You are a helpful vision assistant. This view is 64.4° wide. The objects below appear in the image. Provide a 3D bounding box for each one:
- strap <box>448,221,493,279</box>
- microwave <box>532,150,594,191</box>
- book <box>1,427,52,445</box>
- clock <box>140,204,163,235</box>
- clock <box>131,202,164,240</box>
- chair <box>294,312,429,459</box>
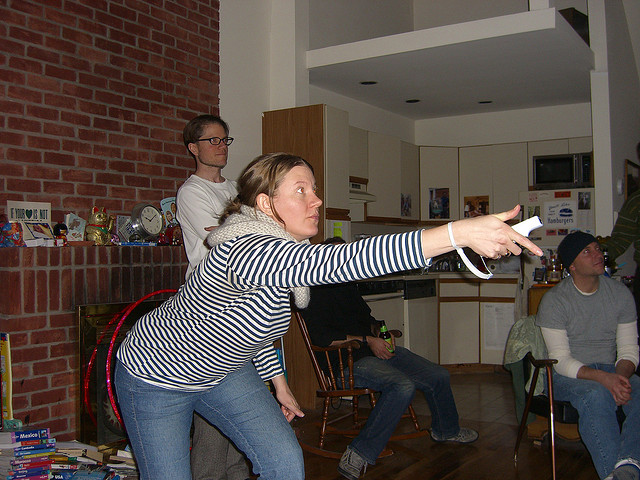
[{"bbox_3d":[0.396,0.042,1.379,0.039,0.164,0.126,-28,31,25],"label":"strap"},{"bbox_3d":[2.815,-0.810,5.746,0.411,0.449,0.678,-18,15,-37],"label":"microwave"},{"bbox_3d":[-1.535,1.023,2.650,0.217,0.080,0.068,-2,1,-34],"label":"book"},{"bbox_3d":[-1.171,-0.137,3.515,0.056,0.191,0.173,-7,-17,19],"label":"clock"},{"bbox_3d":[-1.198,-0.124,3.510,0.101,0.265,0.213,-16,-17,28],"label":"clock"},{"bbox_3d":[0.153,0.913,3.377,0.698,0.846,0.521,-3,-6,14],"label":"chair"}]
